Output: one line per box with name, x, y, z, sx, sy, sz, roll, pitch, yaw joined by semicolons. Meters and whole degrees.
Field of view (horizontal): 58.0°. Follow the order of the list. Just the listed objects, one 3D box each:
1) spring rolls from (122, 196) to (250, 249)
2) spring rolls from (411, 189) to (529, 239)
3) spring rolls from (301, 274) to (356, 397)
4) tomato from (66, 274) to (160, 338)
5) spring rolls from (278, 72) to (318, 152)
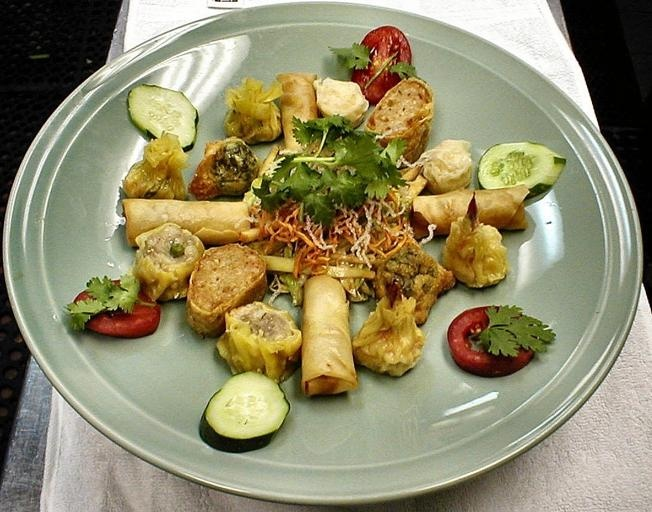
spring rolls;-0.858;-0.231;3.602;0.791;0.309;0.268;-1;73;-6
spring rolls;0.870;-0.366;3.843;0.770;0.275;0.684;-8;20;-20
spring rolls;0.007;0.465;3.241;0.339;0.235;0.700;-2;47;4
tomato;-1.157;0.298;3.246;0.413;0.104;0.366;17;46;-7
spring rolls;-0.195;-1.006;3.994;0.354;0.164;0.514;-1;70;3
